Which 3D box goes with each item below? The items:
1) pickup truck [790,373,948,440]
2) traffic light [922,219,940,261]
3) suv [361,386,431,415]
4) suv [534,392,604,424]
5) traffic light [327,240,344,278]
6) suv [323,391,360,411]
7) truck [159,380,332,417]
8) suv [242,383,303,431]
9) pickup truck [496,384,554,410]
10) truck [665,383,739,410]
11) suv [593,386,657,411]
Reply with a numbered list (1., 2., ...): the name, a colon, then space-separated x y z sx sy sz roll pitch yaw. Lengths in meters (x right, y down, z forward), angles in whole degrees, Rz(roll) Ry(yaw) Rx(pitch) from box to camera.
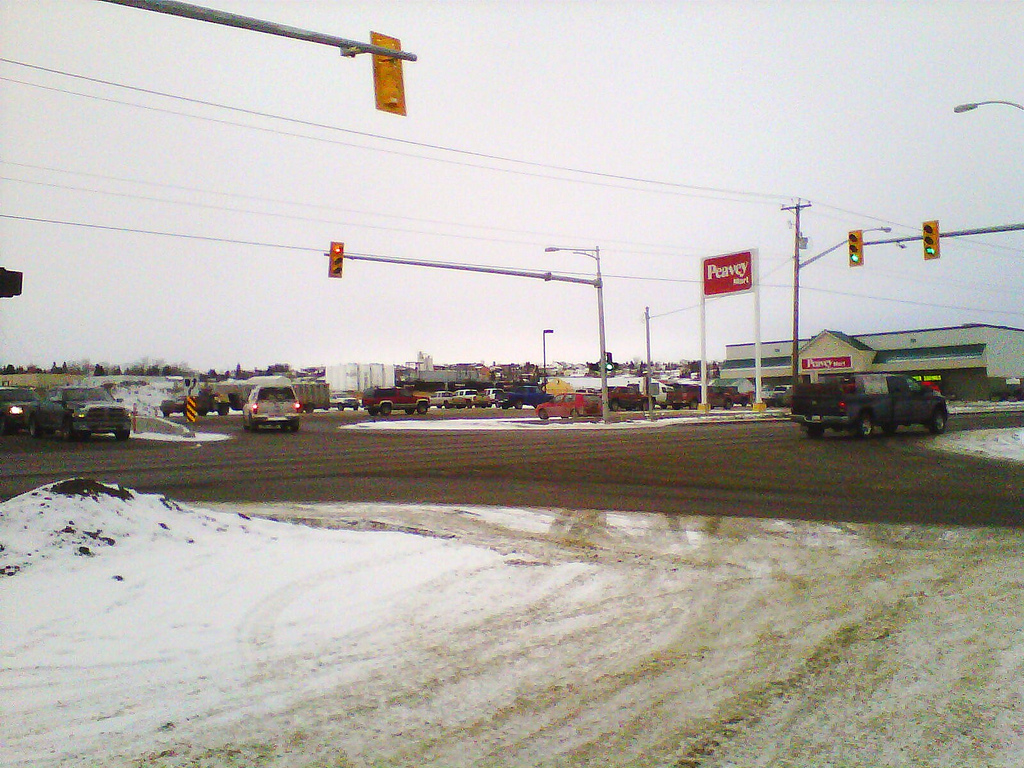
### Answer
1. pickup truck: 10.098 0.631 27.370 4.762 1.731 2.013 -2 0 -31
2. traffic light: 12.621 -4.264 29.427 0.448 1.045 0.184 0 12 0
3. suv: -6.813 1.052 57.204 3.111 1.449 1.762 -3 3 -18
4. suv: 2.664 1.097 45.625 2.237 0.990 1.395 4 4 34
5. traffic light: -5.343 -3.685 29.487 0.215 0.988 0.452 11 16 41
6. suv: -13.277 1.107 74.654 1.962 1.549 3.947 -2 -4 -37
7. truck: -16.580 0.837 62.758 9.997 2.571 3.452 -1 0 -33
8. suv: -8.687 1.038 35.150 1.857 1.842 1.866 -4 13 -20
9. pickup truck: 0.611 1.079 67.143 3.282 1.258 1.685 -3 4 0
10. truck: 11.085 0.809 57.412 3.054 1.097 1.840 -2 4 -11
11. suv: 6.857 1.022 58.479 2.360 1.090 1.281 -4 5 -31
